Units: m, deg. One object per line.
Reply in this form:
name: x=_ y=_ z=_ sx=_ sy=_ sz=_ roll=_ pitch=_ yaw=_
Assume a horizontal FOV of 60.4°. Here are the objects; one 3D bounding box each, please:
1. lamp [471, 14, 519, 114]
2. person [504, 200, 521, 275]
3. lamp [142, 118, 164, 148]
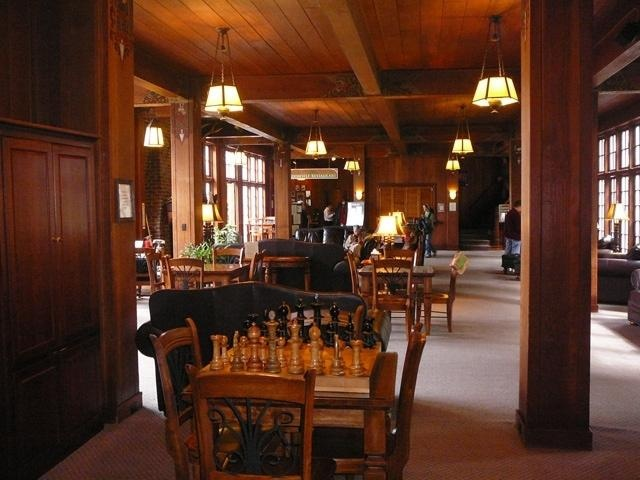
lamp: x=2.071 y=-2.103 z=6.504 sx=0.479 sy=1.072 sz=0.482 roll=-1 pitch=-1 yaw=-20
person: x=4.077 y=-0.023 z=11.608 sx=0.324 sy=1.635 sz=1.025 roll=3 pitch=8 yaw=19
lamp: x=-2.561 y=-1.662 z=8.454 sx=0.234 sy=0.406 sz=0.537 roll=-1 pitch=7 yaw=-11
